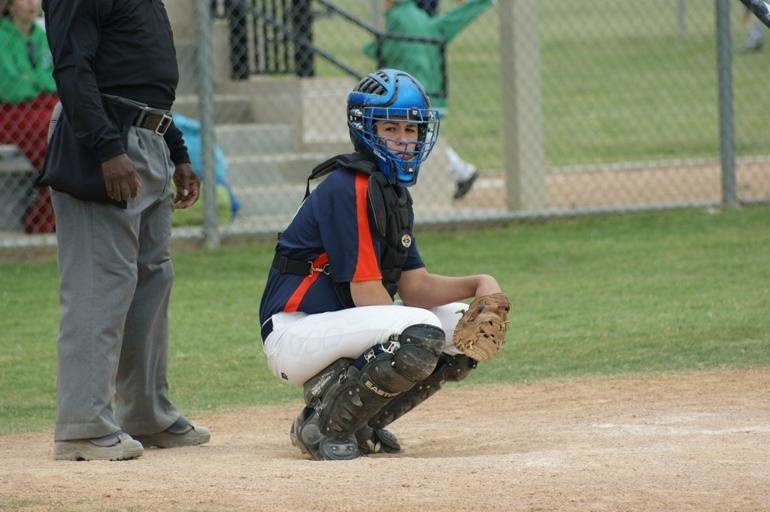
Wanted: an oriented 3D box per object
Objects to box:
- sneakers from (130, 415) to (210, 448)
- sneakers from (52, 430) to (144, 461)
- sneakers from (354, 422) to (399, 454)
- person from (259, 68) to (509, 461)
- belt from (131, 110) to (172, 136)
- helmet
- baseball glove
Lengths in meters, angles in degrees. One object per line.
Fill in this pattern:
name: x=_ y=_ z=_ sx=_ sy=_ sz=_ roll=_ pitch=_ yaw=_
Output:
sneakers: x=-1.047 y=0.836 z=7.329 sx=0.383 sy=0.183 sz=0.136 roll=-2 pitch=4 yaw=-13
sneakers: x=-1.312 y=0.869 z=6.902 sx=0.383 sy=0.175 sz=0.145 roll=-1 pitch=2 yaw=0
sneakers: x=-0.041 y=0.880 z=7.150 sx=0.173 sy=0.075 sz=0.128 roll=26 pitch=12 yaw=0
person: x=0.076 y=0.099 z=7.186 sx=1.160 sy=1.794 sz=1.235 roll=-3 pitch=7 yaw=-36
belt: x=-1.083 y=-0.621 z=7.046 sx=0.137 sy=0.061 sz=0.101 roll=24 pitch=8 yaw=26
helmet: x=0.029 y=-0.605 z=7.054 sx=0.432 sy=0.512 sz=0.528 roll=-10 pitch=18 yaw=-34
baseball glove: x=0.457 y=0.298 z=6.961 sx=0.224 sy=0.306 sz=0.136 roll=29 pitch=-4 yaw=-15
